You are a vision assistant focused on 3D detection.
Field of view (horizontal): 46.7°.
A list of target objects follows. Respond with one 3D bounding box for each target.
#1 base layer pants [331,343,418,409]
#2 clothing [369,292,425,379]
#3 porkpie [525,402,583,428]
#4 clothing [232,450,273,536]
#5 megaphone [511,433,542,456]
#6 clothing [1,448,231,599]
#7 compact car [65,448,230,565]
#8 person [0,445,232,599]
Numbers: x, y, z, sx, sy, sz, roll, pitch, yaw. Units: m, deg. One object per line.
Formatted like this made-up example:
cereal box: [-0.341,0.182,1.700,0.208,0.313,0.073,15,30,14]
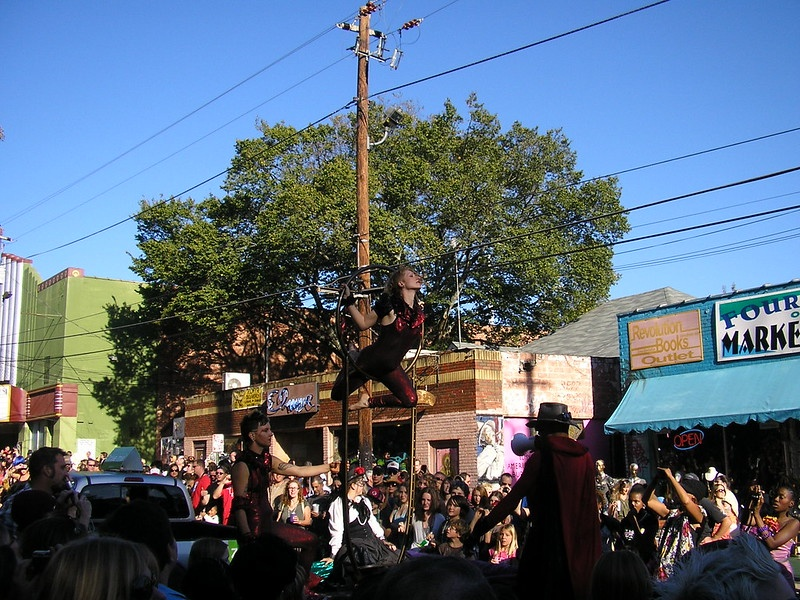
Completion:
base layer pants: [-0.342,0.703,8.503,0.539,0.317,0.748,12,-10,-42]
clothing: [-0.019,0.255,8.286,0.433,0.605,0.447,11,4,10]
porkpie: [1.307,1.022,8.133,0.263,0.128,0.307,3,-14,-7]
clothing: [-1.306,1.749,8.341,0.416,0.759,0.348,4,-13,-23]
megaphone: [1.196,1.381,8.717,0.202,0.204,0.339,0,-8,-20]
clothing: [-2.678,1.973,8.976,2.469,1.138,1.403,4,-20,12]
compact car: [-3.195,2.547,11.165,2.176,1.243,1.288,-4,-9,45]
person: [-2.668,1.971,9.068,2.517,1.165,1.434,6,-20,10]
